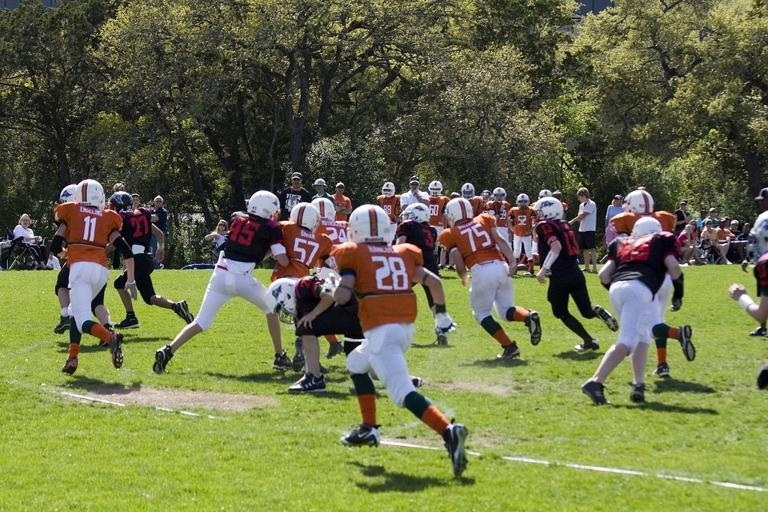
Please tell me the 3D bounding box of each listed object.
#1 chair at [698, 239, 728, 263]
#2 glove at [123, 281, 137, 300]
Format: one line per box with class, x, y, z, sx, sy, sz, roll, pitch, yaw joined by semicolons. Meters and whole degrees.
chair;11.197;-0.134;32.909;0.728;0.900;0.450;3;14;29
glove;-5.719;0.777;21.808;0.325;0.452;0.215;14;21;32
